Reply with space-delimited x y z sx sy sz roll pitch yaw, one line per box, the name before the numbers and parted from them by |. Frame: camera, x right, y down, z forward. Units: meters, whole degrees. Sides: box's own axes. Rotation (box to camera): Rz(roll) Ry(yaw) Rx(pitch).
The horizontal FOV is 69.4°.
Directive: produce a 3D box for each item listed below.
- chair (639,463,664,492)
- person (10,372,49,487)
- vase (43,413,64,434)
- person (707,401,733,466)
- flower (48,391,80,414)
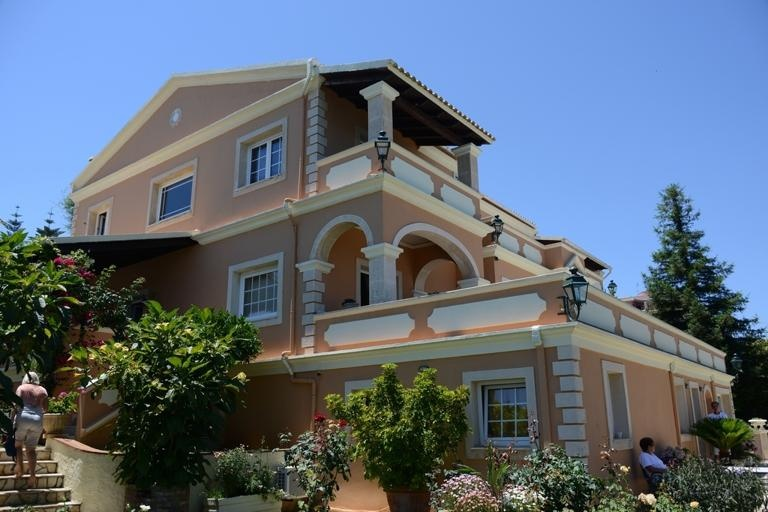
chair | 6.147 5.160 12.753 0.597 0.562 0.647 20 -30 -39
person | -7.030 3.363 10.964 0.655 2.237 1.321 13 -26 -28
vase | -7.493 3.805 12.591 0.448 0.341 0.444 6 -14 -36
person | 10.927 5.712 18.110 0.528 1.815 0.688 30 -35 -18
flower | -7.614 3.518 13.153 0.773 0.589 0.765 10 -15 -39
